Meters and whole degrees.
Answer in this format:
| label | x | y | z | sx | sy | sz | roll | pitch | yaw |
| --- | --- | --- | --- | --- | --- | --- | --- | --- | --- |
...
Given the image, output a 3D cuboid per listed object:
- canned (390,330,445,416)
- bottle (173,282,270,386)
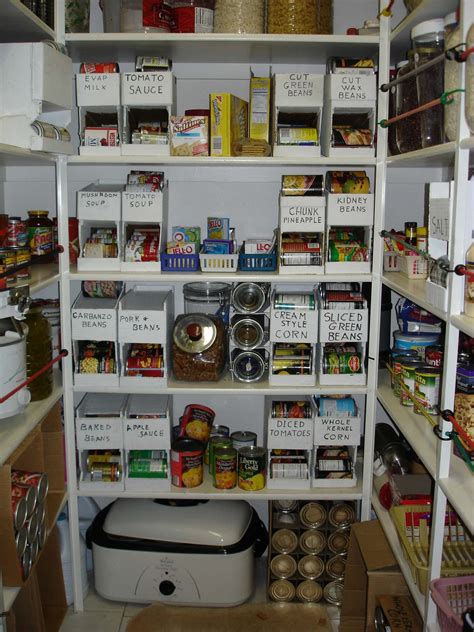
| label | x | y | z | sx | sy | sz | roll | pitch | yaw |
| --- | --- | --- | --- | --- | --- | --- | --- | --- | --- |
| canned | 0.478 | 0.155 | 1.329 | 0.068 | 0.087 | 0.218 | 1 | 15 | 11 |
| bottle | -0.047 | 0.034 | 1.728 | 0.349 | 0.356 | 0.293 | 0 | 16 | -1 |
